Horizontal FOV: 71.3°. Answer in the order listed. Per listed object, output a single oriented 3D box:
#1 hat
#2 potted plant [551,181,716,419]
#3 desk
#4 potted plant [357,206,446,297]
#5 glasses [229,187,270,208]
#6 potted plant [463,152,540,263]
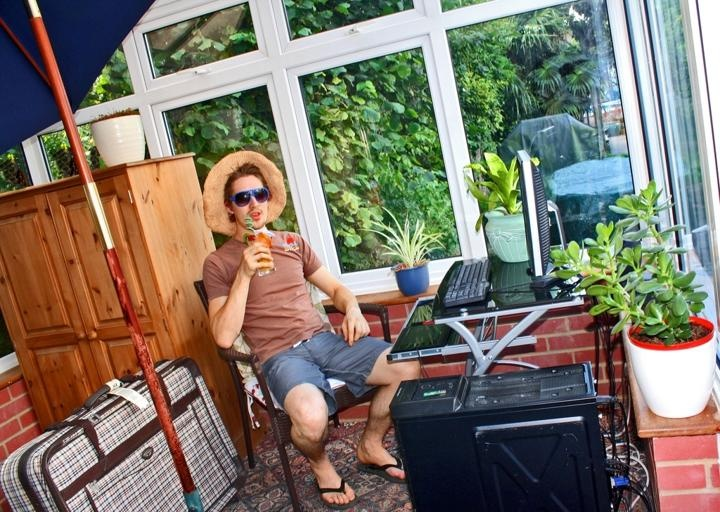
[{"bbox_3d":[-0.700,-0.372,2.731,0.487,0.505,0.111,-10,21,-28],"label":"hat"},{"bbox_3d":[0.957,0.157,1.718,0.441,0.765,0.357,-16,12,-22],"label":"potted plant"},{"bbox_3d":[0.573,0.366,2.219,0.678,0.381,0.691,-5,25,25],"label":"desk"},{"bbox_3d":[0.327,0.005,3.061,0.537,0.510,0.358,-6,-9,-40],"label":"potted plant"},{"bbox_3d":[-0.592,-0.307,2.664,0.204,0.082,0.113,-12,10,-7],"label":"glasses"},{"bbox_3d":[0.758,-0.230,2.518,0.428,0.473,0.378,-10,10,-2],"label":"potted plant"}]
